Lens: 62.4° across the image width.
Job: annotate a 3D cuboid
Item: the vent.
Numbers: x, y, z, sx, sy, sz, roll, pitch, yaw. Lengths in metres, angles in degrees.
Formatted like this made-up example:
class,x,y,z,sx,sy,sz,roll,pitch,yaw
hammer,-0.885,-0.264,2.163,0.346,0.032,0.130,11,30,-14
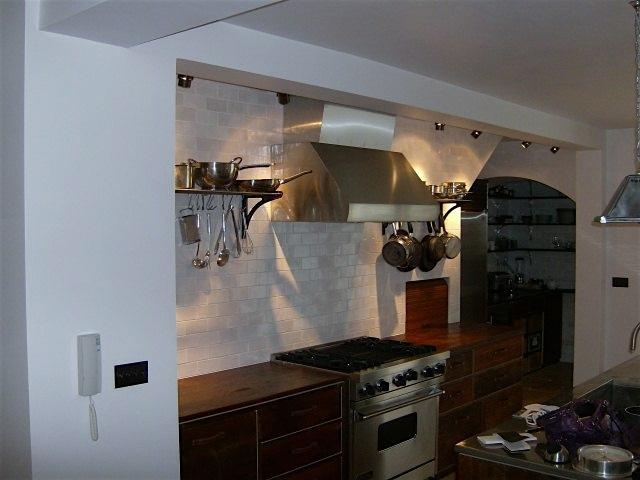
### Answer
class,x,y,z,sx,sy,sz,roll,pitch,yaw
vent,0.282,-0.437,3.957,1.175,0.617,0.652,-4,2,-30

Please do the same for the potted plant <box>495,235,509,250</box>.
class,x,y,z,sx,sy,sz,roll,pitch,yaw
potted plant,2.795,0.039,8.179,0.222,0.213,0.221,-1,-5,3

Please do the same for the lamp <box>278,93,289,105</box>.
class,x,y,z,sx,sy,sz,roll,pitch,yaw
lamp,-0.262,-1.027,3.857,0.076,0.077,0.077,2,5,38

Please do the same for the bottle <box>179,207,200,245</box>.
class,x,y,z,sx,sy,sz,roll,pitch,yaw
bottle,-0.852,-0.092,3.433,0.133,0.159,0.191,-3,2,-11

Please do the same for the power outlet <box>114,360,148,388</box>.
class,x,y,z,sx,sy,sz,roll,pitch,yaw
power outlet,-0.948,0.664,2.619,0.155,0.109,0.003,-2,-2,-44

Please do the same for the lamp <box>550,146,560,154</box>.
class,x,y,z,sx,sy,sz,roll,pitch,yaw
lamp,2.849,-1.107,6.410,0.076,0.084,0.076,25,31,2

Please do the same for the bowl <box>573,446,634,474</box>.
class,x,y,z,sx,sy,sz,roll,pitch,yaw
bowl,1.342,1.032,2.484,0.232,0.081,0.217,-3,2,0

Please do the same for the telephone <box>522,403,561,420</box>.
class,x,y,z,sx,sy,sz,roll,pitch,yaw
telephone,1.288,1.005,3.100,0.113,0.056,0.203,-9,0,-42

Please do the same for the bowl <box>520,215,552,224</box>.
class,x,y,z,sx,sy,sz,roll,pitch,yaw
bowl,3.363,-0.321,8.218,0.490,0.160,0.163,-2,2,23

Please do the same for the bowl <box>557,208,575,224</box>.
class,x,y,z,sx,sy,sz,roll,pitch,yaw
bowl,3.699,-0.389,8.007,0.281,0.281,0.209,4,7,41

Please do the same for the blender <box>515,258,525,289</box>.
class,x,y,z,sx,sy,sz,roll,pitch,yaw
blender,3.112,0.480,8.249,0.149,0.397,0.383,-2,2,21

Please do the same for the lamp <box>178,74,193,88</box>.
class,x,y,z,sx,sy,sz,roll,pitch,yaw
lamp,-0.852,-1.007,3.347,0.083,0.081,0.060,-4,28,-29

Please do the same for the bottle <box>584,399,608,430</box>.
class,x,y,z,sx,sy,sz,roll,pitch,yaw
bottle,1.420,0.903,2.740,0.100,0.172,0.130,-24,-25,23

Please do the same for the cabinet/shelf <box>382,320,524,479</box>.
class,x,y,z,sx,sy,sz,roll,pitch,yaw
cabinet/shelf,1.256,1.207,5.080,0.968,1.419,1.707,0,2,38

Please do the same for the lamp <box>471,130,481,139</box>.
class,x,y,z,sx,sy,sz,roll,pitch,yaw
lamp,1.575,-1.085,5.372,0.073,0.054,0.076,-21,44,-29
